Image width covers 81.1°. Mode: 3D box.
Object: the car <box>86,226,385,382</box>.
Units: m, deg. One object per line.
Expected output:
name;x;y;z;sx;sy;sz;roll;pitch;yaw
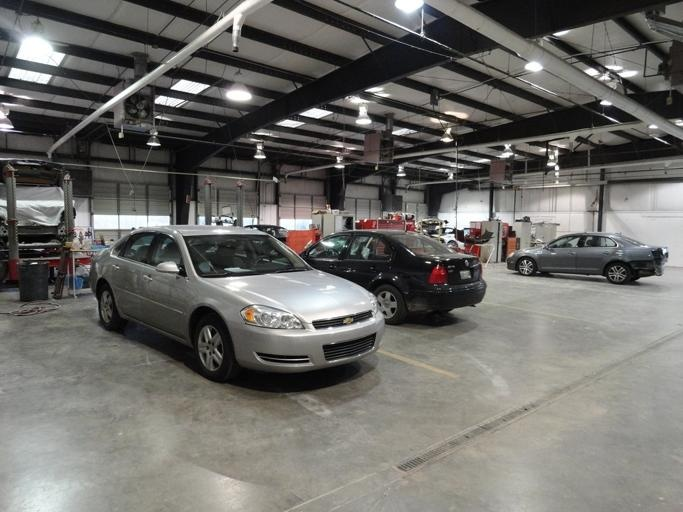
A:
car;-1.574;0.397;5.238;3.886;1.089;1.736;6;4;36

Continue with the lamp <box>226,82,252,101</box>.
lamp;-3.142;-5.096;12.206;0.887;0.344;0.807;2;3;-14

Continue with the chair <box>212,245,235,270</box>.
chair;-1.504;0.023;5.055;0.319;0.249;0.299;6;2;-39

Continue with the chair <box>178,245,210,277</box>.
chair;-1.748;0.031;4.871;0.315;0.200;0.500;-1;5;-36

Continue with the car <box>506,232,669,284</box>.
car;7.838;0.074;13.259;4.635;1.284;1.948;2;2;41

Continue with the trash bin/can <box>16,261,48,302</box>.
trash bin/can;-6.517;0.538;8.432;0.531;0.793;0.454;-6;13;-34

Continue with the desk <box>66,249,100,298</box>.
desk;-6.509;0.404;9.682;0.600;0.845;0.766;13;-8;-16
